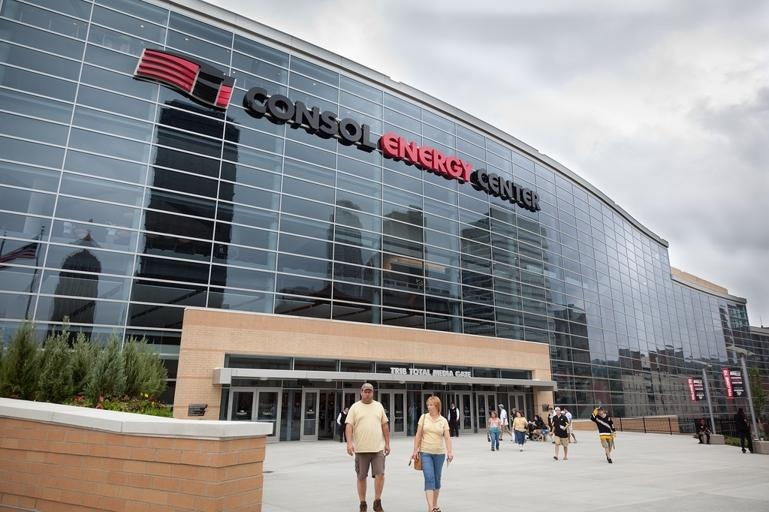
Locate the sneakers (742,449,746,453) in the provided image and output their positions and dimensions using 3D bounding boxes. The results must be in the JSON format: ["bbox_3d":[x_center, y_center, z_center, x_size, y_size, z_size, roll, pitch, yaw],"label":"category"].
[{"bbox_3d":[16.929,9.172,21.704,0.136,0.215,0.470,-15,-23,36],"label":"sneakers"}]
